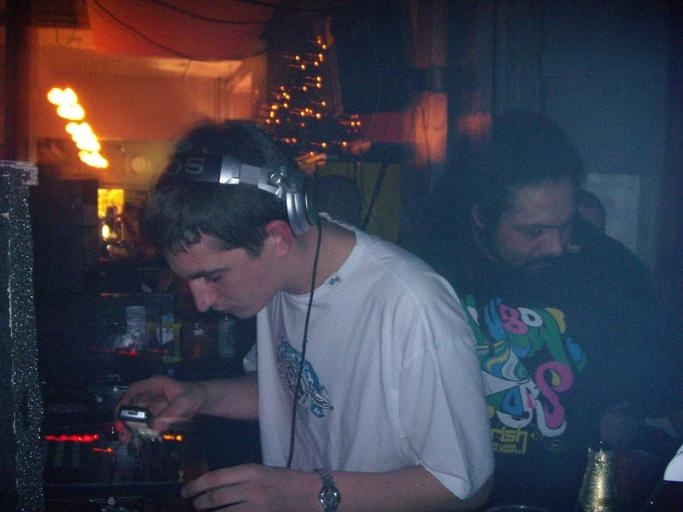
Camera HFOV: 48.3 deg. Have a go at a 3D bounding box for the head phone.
[{"bbox_3d":[-0.281,-0.247,2.782,0.439,0.185,0.469,23,-4,-24],"label":"head phone"}]
